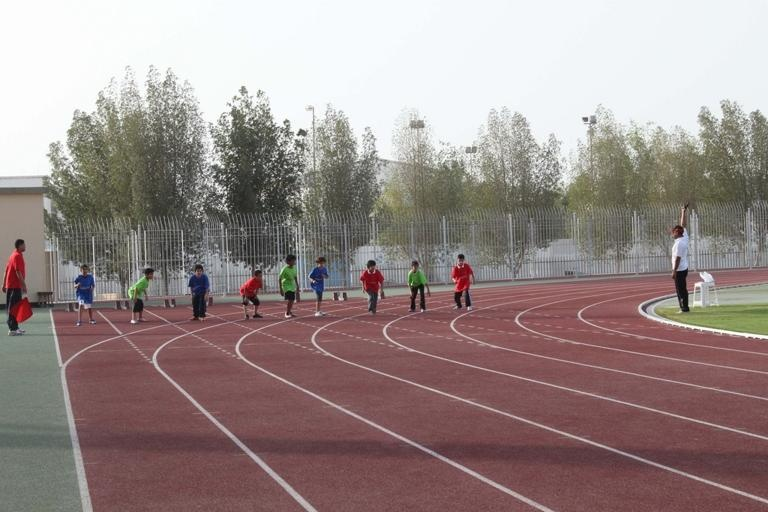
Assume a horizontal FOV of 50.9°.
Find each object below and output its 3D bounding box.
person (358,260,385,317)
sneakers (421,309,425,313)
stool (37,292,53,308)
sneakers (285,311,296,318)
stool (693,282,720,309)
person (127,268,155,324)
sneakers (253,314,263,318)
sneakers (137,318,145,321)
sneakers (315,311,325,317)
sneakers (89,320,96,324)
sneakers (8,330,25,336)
[{"bbox_3d":[-0.374,0.970,26.028,0.672,1.680,2.187,-1,3,-1],"label":"person"},{"bbox_3d":[1.231,1.746,25.623,0.093,0.117,0.105,1,5,-4],"label":"sneakers"},{"bbox_3d":[-12.965,1.628,30.960,0.639,0.667,0.494,2,2,-26],"label":"stool"},{"bbox_3d":[-2.953,1.836,25.320,0.401,0.292,0.136,-7,11,-42],"label":"sneakers"},{"bbox_3d":[9.827,1.237,24.643,0.663,0.666,0.509,-2,-1,-32],"label":"stool"},{"bbox_3d":[-7.598,1.213,25.265,0.703,1.675,1.987,-2,3,-18],"label":"person"},{"bbox_3d":[-3.958,1.911,25.450,0.339,0.149,0.118,2,4,-10],"label":"sneakers"},{"bbox_3d":[-7.566,1.993,25.097,0.236,0.104,0.083,-1,0,28],"label":"sneakers"},{"bbox_3d":[-1.969,1.828,25.231,0.132,0.170,0.373,3,5,30],"label":"sneakers"},{"bbox_3d":[-8.916,2.034,24.702,0.133,0.080,0.226,-1,9,-9],"label":"sneakers"},{"bbox_3d":[-9.835,2.051,21.559,0.425,0.215,0.167,-5,15,-7],"label":"sneakers"}]
